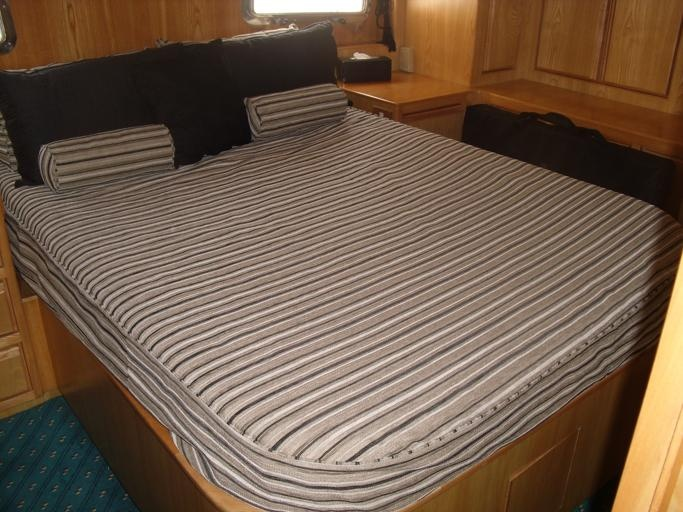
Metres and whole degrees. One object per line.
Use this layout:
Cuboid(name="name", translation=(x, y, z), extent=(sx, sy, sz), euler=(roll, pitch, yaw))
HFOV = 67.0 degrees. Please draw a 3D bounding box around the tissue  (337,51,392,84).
Cuboid(name="tissue ", translation=(0.161, -1.277, 3.573), extent=(0.419, 0.174, 0.213), euler=(-7, 30, -15))
